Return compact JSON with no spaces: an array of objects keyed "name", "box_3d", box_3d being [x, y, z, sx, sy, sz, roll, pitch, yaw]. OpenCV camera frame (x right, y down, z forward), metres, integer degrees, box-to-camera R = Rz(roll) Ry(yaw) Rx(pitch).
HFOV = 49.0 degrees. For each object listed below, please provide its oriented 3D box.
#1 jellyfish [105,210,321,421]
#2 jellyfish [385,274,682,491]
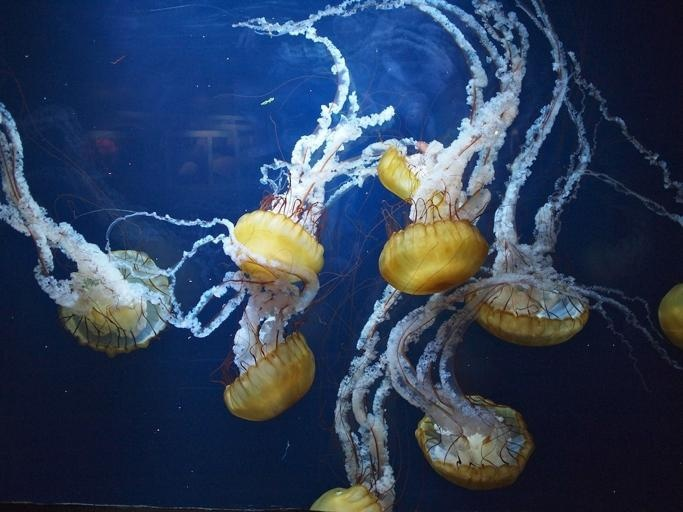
[{"name":"jellyfish","box_3d":[-0.557,0.317,4.095,0.860,1.008,0.686,5,37,4]},{"name":"jellyfish","box_3d":[0.912,0.457,4.129,1.447,1.102,0.487,-42,11,5]}]
